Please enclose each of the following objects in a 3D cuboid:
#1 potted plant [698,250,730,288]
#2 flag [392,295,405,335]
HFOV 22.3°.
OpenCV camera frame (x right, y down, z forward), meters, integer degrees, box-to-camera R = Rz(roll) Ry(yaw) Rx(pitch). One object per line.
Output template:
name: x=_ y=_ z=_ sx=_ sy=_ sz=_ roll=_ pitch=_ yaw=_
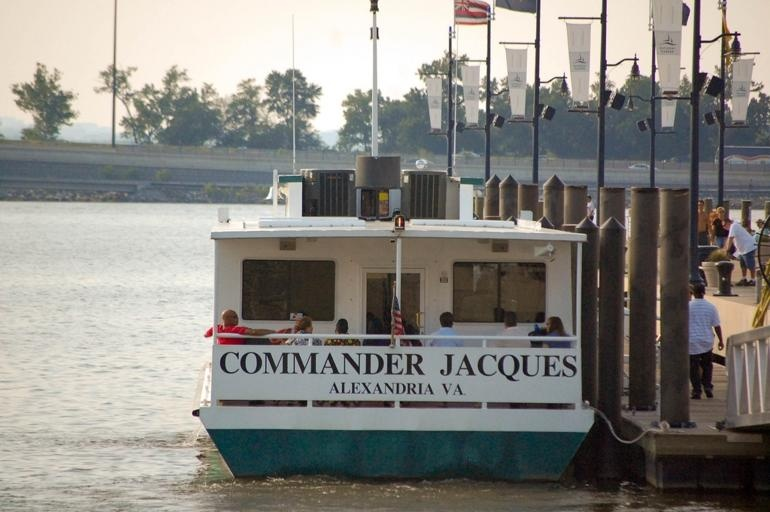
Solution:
potted plant: x=16.909 y=0.502 z=100.137 sx=1.712 sy=1.797 sz=1.758 roll=2 pitch=1 yaw=16
flag: x=0.560 y=2.598 z=89.316 sx=0.517 sy=1.907 sz=0.550 roll=0 pitch=2 yaw=0
